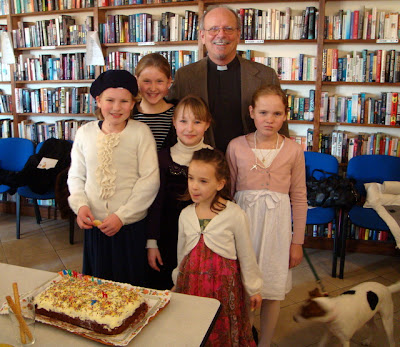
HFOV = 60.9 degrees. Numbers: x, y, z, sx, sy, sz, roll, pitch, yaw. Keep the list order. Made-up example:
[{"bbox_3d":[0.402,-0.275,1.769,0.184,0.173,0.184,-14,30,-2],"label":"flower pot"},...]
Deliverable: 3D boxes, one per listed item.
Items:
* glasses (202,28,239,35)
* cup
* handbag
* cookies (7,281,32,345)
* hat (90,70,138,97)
[{"bbox_3d":[0.120,-0.805,1.925,0.169,0.036,0.046,-1,10,0],"label":"glasses"},{"bbox_3d":[-0.503,0.426,0.961,0.047,0.165,0.036,-13,12,22],"label":"cup"},{"bbox_3d":[1.140,0.164,2.977,0.406,0.285,0.224,1,11,10],"label":"handbag"},{"bbox_3d":[-0.519,0.408,0.995,0.061,0.206,0.024,-17,-16,-13],"label":"cookies"},{"bbox_3d":[-0.424,-0.440,1.651,0.234,0.140,0.121,-2,11,-3],"label":"hat"}]
